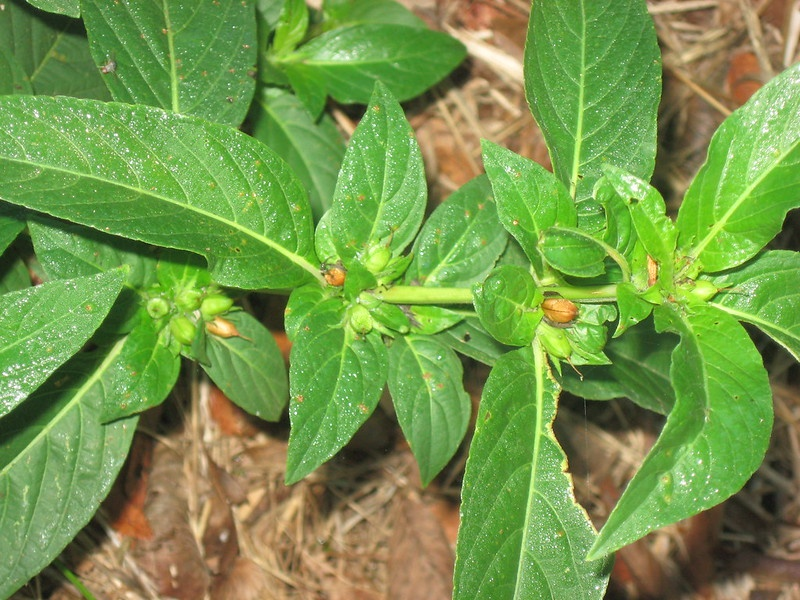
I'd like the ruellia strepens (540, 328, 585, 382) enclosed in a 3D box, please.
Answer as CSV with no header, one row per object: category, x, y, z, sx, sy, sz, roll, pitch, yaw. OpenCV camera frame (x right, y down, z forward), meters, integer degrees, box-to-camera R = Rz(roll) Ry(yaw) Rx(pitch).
ruellia strepens,0.444,0.145,1.946,0.159,0.063,0.041,48,20,-4

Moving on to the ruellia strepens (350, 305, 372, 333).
ruellia strepens,-0.111,0.055,2.012,0.062,0.063,0.054,3,45,6

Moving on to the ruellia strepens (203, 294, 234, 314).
ruellia strepens,-0.556,0.017,2.221,0.083,0.052,0.054,6,77,7

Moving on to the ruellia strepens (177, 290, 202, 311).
ruellia strepens,-0.640,0.001,2.210,0.065,0.055,0.057,-2,39,7

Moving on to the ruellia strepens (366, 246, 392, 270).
ruellia strepens,-0.057,-0.117,2.013,0.064,0.061,0.033,19,32,-10
